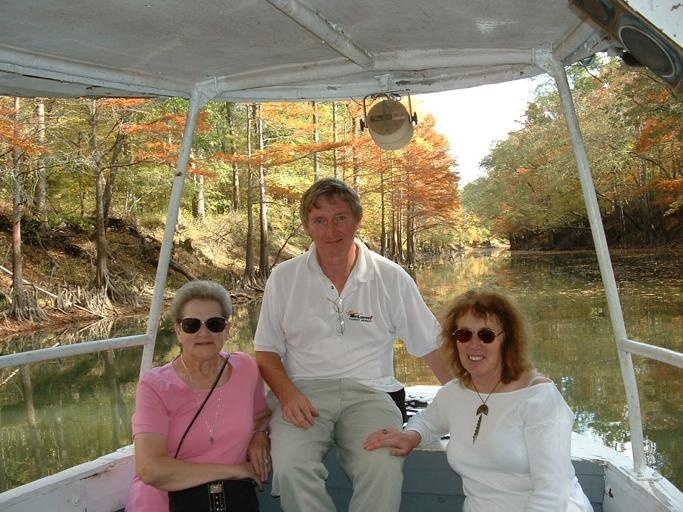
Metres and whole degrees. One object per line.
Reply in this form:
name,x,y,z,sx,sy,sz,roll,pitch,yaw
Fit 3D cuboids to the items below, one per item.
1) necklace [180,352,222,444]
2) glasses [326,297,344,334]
necklace,-0.558,0.596,2.063,0.066,0.424,0.047,10,-42,26
glasses,-0.026,0.294,2.411,0.084,0.178,0.024,0,-6,-3
